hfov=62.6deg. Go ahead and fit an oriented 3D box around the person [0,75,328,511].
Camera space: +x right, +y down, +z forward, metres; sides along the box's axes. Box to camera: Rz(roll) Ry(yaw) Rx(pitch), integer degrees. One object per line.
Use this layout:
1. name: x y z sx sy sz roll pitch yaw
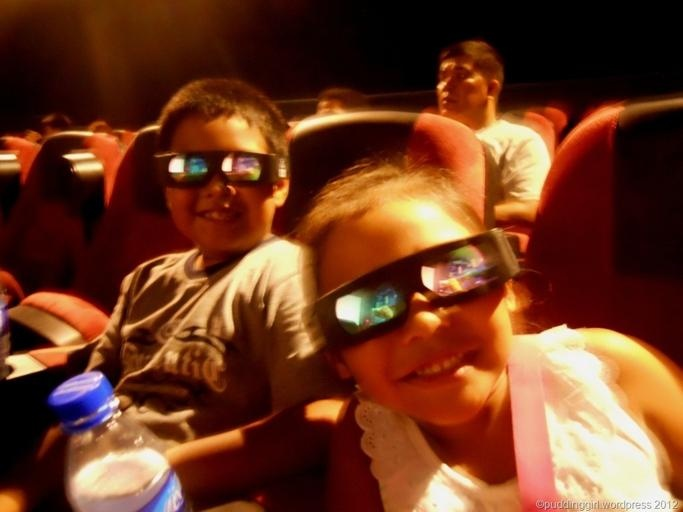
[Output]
1. person: -0.355 0.042 1.530 0.604 1.017 0.796 -2 -1 20
